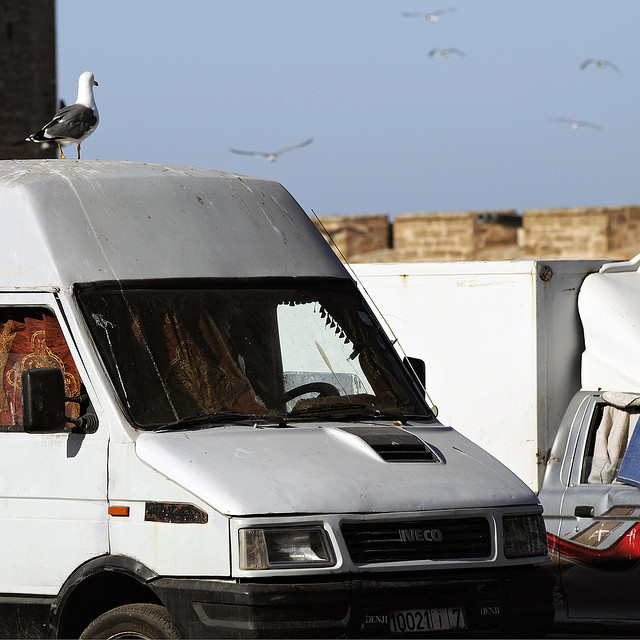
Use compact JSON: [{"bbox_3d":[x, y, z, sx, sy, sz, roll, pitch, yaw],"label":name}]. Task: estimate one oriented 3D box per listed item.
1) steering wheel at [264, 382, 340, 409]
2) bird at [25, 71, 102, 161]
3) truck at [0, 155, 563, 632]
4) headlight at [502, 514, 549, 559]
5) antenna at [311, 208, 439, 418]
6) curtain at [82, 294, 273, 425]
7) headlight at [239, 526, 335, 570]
[{"bbox_3d":[-0.049,0.390,8.016,0.204,0.050,0.214,-21,2,1],"label":"steering wheel"},{"bbox_3d":[-1.723,-1.358,10.091,0.339,0.552,0.721,14,21,31],"label":"bird"},{"bbox_3d":[-0.336,0.431,7.522,2.022,1.737,3.608,1,-3,-40],"label":"truck"},{"bbox_3d":[0.997,1.058,7.300,0.087,0.210,0.346,-5,-4,35],"label":"headlight"},{"bbox_3d":[0.382,0.161,8.352,0.057,0.986,0.099,-40,11,-14],"label":"antenna"},{"bbox_3d":[-0.763,0.210,7.562,0.829,0.855,0.065,-5,-34,-49],"label":"curtain"},{"bbox_3d":[-0.151,1.025,6.799,0.328,0.097,0.227,0,-1,-3],"label":"headlight"}]
